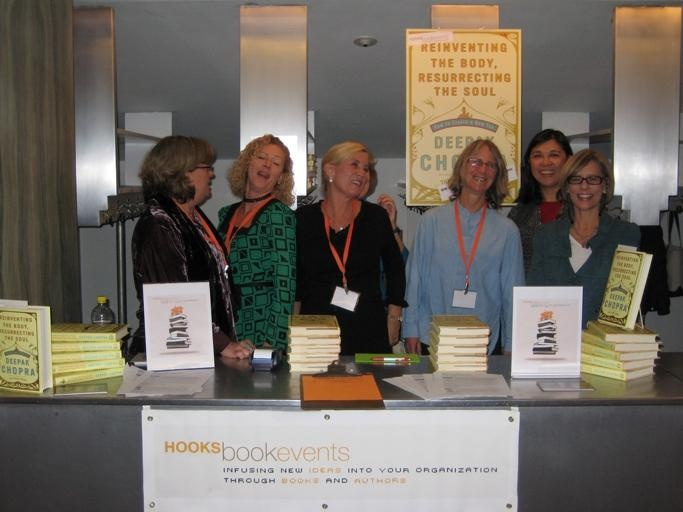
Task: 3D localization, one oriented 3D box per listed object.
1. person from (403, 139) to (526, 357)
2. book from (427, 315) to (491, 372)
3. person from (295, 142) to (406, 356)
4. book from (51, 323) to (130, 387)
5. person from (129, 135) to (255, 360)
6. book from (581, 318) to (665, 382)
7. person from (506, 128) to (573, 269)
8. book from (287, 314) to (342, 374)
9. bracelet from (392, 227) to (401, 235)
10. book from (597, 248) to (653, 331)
[{"bbox_3d":[0.684,0.182,4.127,0.571,1.624,0.317,4,20,5],"label":"person"},{"bbox_3d":[0.530,0.388,3.272,0.206,0.144,0.285,0,8,2],"label":"book"},{"bbox_3d":[0.016,0.168,4.126,0.670,1.543,0.370,2,17,9],"label":"person"},{"bbox_3d":[-1.086,0.377,3.133,0.228,0.151,0.307,-1,4,-34],"label":"book"},{"bbox_3d":[-0.718,-0.059,3.450,0.535,1.039,0.622,-1,5,-16],"label":"person"},{"bbox_3d":[1.219,0.415,3.178,0.259,0.164,0.258,-9,14,-40],"label":"book"},{"bbox_3d":[1.210,-0.266,4.349,0.506,0.943,0.285,1,-22,6],"label":"person"},{"bbox_3d":[-0.126,0.389,3.246,0.208,0.132,0.266,-1,21,0],"label":"book"},{"bbox_3d":[0.330,-0.153,4.399,0.046,0.025,0.063,-1,7,3],"label":"bracelet"},{"bbox_3d":[1.228,0.140,3.201,0.089,0.334,0.247,2,16,-35],"label":"book"}]
